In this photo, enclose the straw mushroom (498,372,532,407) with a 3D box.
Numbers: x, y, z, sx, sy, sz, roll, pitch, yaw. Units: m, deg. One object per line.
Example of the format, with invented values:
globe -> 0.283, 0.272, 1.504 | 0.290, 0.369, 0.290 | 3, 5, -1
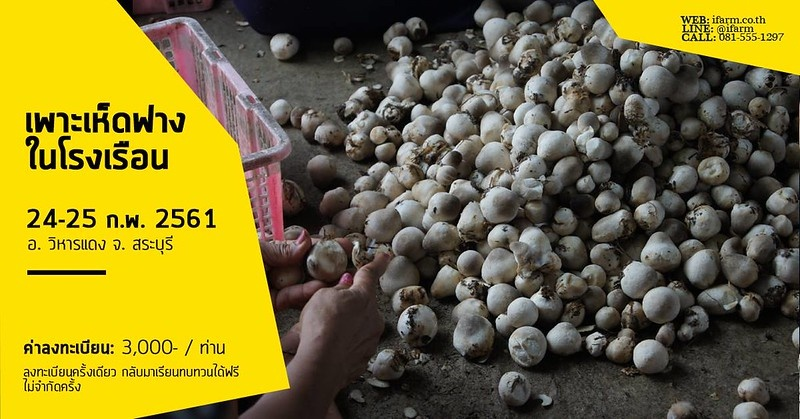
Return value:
straw mushroom -> 0.454, 0.716, 2.658 | 0.139, 0.126, 0.132 | 8, 17, 2
